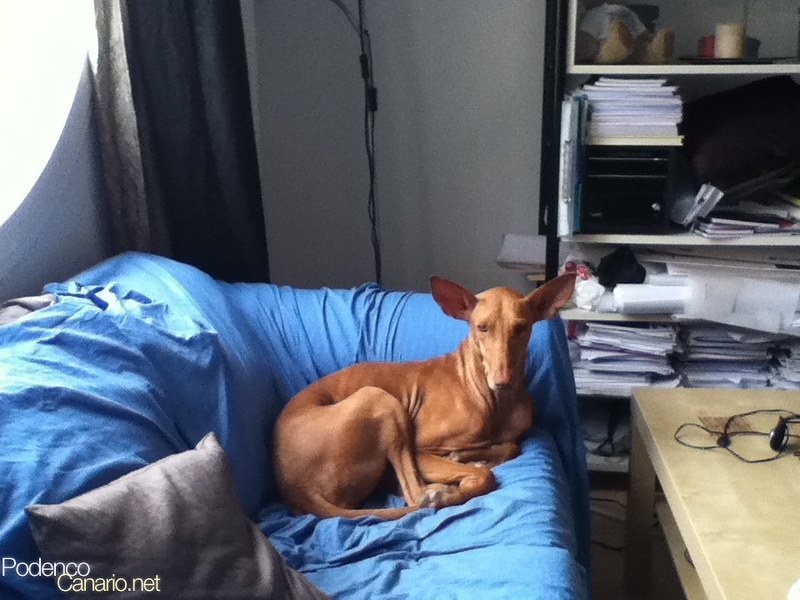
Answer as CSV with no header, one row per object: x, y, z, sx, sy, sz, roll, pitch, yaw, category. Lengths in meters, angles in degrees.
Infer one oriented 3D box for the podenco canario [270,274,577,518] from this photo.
0.082,0.250,2.045,0.815,0.548,0.549,-5,0,7,podenco canario
